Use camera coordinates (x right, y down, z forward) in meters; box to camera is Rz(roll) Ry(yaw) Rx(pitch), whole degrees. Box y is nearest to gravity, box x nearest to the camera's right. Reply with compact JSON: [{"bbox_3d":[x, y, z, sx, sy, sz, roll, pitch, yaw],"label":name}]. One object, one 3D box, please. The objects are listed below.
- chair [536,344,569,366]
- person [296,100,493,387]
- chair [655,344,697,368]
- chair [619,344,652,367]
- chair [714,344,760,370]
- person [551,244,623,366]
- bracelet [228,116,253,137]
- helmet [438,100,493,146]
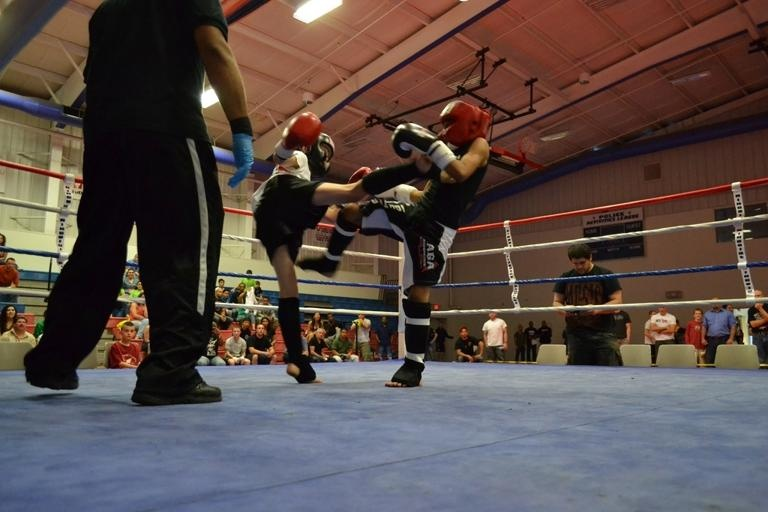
[{"bbox_3d":[1.853,1.088,5.205,0.361,0.199,0.259,-6,-20,28],"label":"chair"},{"bbox_3d":[0.155,-0.088,2.843,0.600,1.655,0.903,11,-14,-36],"label":"person"},{"bbox_3d":[2.781,0.951,4.542,0.327,0.196,0.241,-6,-13,38],"label":"chair"},{"bbox_3d":[2.528,0.992,4.749,0.258,0.195,0.384,-3,-11,24],"label":"chair"},{"bbox_3d":[3.168,0.845,4.240,0.345,0.178,0.313,-1,-3,41],"label":"chair"},{"bbox_3d":[1.841,0.446,4.292,0.547,1.082,0.740,-2,-12,19],"label":"person"},{"bbox_3d":[-0.569,-0.533,1.980,0.103,0.086,0.098,-16,22,-36],"label":"bracelet"},{"bbox_3d":[0.474,-0.762,2.857,0.318,0.223,0.221,10,-8,-33],"label":"helmet"}]
